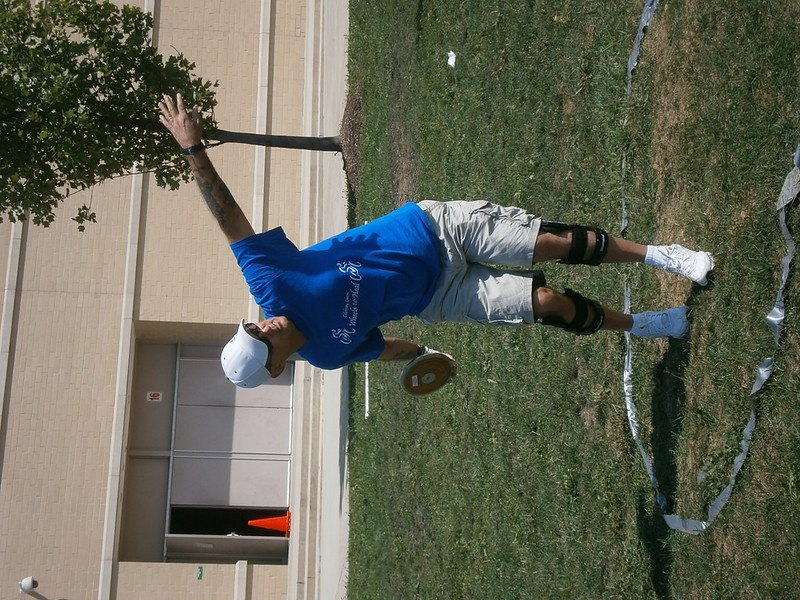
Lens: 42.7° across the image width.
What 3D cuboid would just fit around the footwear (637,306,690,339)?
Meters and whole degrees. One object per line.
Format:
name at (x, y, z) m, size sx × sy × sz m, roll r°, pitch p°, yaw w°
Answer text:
footwear at (2.175, 0.194, 8.472) m, size 0.204 × 0.221 × 0.532 m, roll -4°, pitch -3°, yaw -36°

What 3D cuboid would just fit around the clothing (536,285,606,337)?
clothing at (1.437, 0.112, 8.498) m, size 0.430 × 0.360 × 0.348 m, roll 18°, pitch 24°, yaw -3°

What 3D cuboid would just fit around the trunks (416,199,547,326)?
trunks at (0.646, -0.294, 8.282) m, size 0.842 × 0.738 × 0.450 m, roll -2°, pitch 6°, yaw -29°

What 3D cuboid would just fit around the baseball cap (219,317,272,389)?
baseball cap at (-1.197, 0.460, 8.179) m, size 0.346 × 0.450 × 0.514 m, roll 33°, pitch -20°, yaw 16°

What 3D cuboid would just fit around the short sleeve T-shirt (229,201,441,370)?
short sleeve T-shirt at (-0.452, -0.121, 8.318) m, size 1.597 × 1.292 × 0.396 m, roll -3°, pitch -9°, yaw -6°
